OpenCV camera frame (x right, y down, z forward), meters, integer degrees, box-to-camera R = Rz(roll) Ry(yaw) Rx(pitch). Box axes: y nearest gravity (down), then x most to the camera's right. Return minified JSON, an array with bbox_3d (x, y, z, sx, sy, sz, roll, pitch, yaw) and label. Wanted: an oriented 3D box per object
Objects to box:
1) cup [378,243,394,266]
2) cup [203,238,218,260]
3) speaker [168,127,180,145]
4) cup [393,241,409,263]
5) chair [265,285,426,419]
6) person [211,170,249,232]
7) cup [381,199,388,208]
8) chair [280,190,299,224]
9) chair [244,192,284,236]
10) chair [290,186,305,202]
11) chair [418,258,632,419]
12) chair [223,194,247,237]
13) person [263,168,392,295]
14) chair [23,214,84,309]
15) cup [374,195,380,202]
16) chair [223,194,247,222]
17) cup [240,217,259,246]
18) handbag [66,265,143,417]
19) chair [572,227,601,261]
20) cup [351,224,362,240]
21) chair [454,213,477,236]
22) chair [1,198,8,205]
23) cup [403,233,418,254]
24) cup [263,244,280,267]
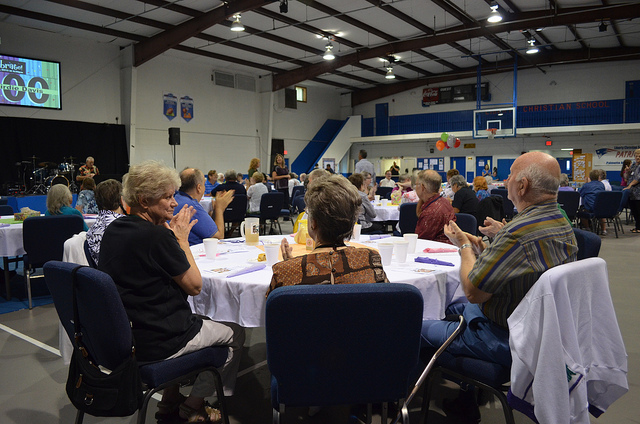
[{"bbox_3d":[0.474,0.291,3.278,0.128,0.159,0.138,-3,4,0],"label":"cup"},{"bbox_3d":[-0.814,0.272,3.403,0.123,0.160,0.134,-2,0,0],"label":"cup"},{"bbox_3d":[-4.013,-2.118,12.562,0.269,0.450,0.338,-2,7,-22],"label":"speaker"},{"bbox_3d":[0.600,0.285,3.372,0.120,0.151,0.135,-3,2,-14],"label":"cup"},{"bbox_3d":[0.139,0.633,2.671,0.627,0.980,0.717,-1,30,-2],"label":"chair"},{"bbox_3d":[-1.509,-0.069,8.360,0.568,1.290,0.641,-10,6,1],"label":"person"},{"bbox_3d":[1.079,-0.167,7.675,0.136,0.181,0.163,0,5,6],"label":"cup"},{"bbox_3d":[-0.651,-0.171,9.774,0.537,0.999,0.542,1,1,-6],"label":"chair"},{"bbox_3d":[-0.983,-0.014,8.536,0.545,0.879,0.575,-9,21,-38],"label":"chair"},{"bbox_3d":[-0.483,-0.450,10.572,0.356,0.548,0.420,1,2,-19],"label":"chair"},{"bbox_3d":[1.419,0.850,3.114,0.902,1.231,1.056,1,-1,-34],"label":"chair"},{"bbox_3d":[-1.569,0.087,8.488,0.400,0.925,1.424,0,7,-12],"label":"chair"},{"bbox_3d":[0.042,0.168,2.702,0.758,0.803,0.383,-3,12,-17],"label":"person"},{"bbox_3d":[-2.910,0.551,4.804,0.434,0.654,0.448,13,0,12],"label":"chair"},{"bbox_3d":[0.986,-0.244,7.852,0.098,0.124,0.108,-2,-1,0],"label":"cup"},{"bbox_3d":[-1.471,-0.119,8.084,0.366,0.569,0.433,-4,14,-21],"label":"chair"},{"bbox_3d":[-0.570,0.158,3.824,0.113,0.236,0.093,-1,7,-17],"label":"cup"},{"bbox_3d":[-1.272,0.741,2.651,0.489,0.871,0.144,3,7,20],"label":"handbag"},{"bbox_3d":[1.852,0.225,3.163,0.155,0.199,0.316,5,7,30],"label":"chair"},{"bbox_3d":[0.316,0.166,3.909,0.083,0.135,0.075,-1,7,-21],"label":"cup"},{"bbox_3d":[1.316,0.107,4.131,0.169,0.330,0.196,0,4,17],"label":"chair"},{"bbox_3d":[-5.072,-0.180,7.321,0.124,0.121,0.122,-2,4,-25],"label":"chair"},{"bbox_3d":[0.727,0.243,3.601,0.123,0.156,0.140,-1,0,18],"label":"cup"},{"bbox_3d":[-0.329,0.298,3.212,0.121,0.147,0.131,-1,2,0],"label":"cup"}]
